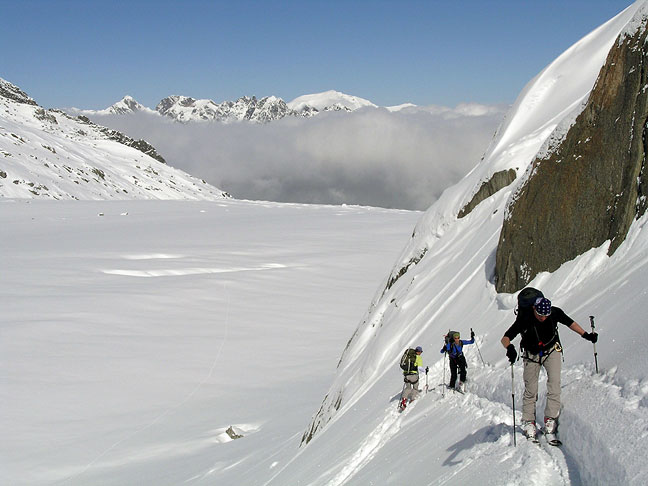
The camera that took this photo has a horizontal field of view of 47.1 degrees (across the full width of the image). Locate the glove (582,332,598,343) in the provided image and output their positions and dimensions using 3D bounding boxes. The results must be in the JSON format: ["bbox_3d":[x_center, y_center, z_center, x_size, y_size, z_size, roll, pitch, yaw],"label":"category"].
[{"bbox_3d":[7.604,2.697,21.486,0.387,0.159,0.390,14,23,41],"label":"glove"}]

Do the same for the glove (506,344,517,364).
[{"bbox_3d":[5.417,3.200,21.639,0.182,0.492,0.386,-10,9,18],"label":"glove"}]

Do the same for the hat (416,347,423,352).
[{"bbox_3d":[3.393,3.778,26.676,0.253,0.175,0.318,0,-15,-11],"label":"hat"}]
